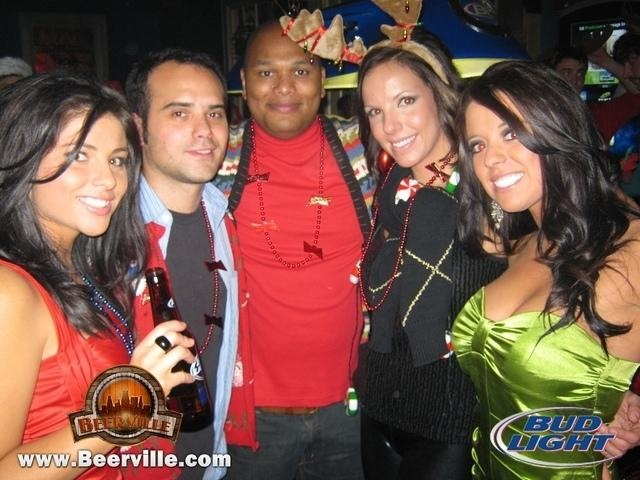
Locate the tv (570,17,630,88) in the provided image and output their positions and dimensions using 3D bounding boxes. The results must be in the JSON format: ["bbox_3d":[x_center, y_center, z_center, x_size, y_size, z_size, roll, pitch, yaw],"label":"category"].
[{"bbox_3d":[2.693,-1.799,5.187,0.594,0.636,0.023,-7,9,-8],"label":"tv"}]

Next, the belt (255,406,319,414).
[{"bbox_3d":[-0.179,0.932,2.942,0.326,0.048,0.022,0,16,0],"label":"belt"}]

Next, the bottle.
[{"bbox_3d":[-0.602,0.515,2.335,0.239,0.878,0.210,-8,18,-26],"label":"bottle"}]
